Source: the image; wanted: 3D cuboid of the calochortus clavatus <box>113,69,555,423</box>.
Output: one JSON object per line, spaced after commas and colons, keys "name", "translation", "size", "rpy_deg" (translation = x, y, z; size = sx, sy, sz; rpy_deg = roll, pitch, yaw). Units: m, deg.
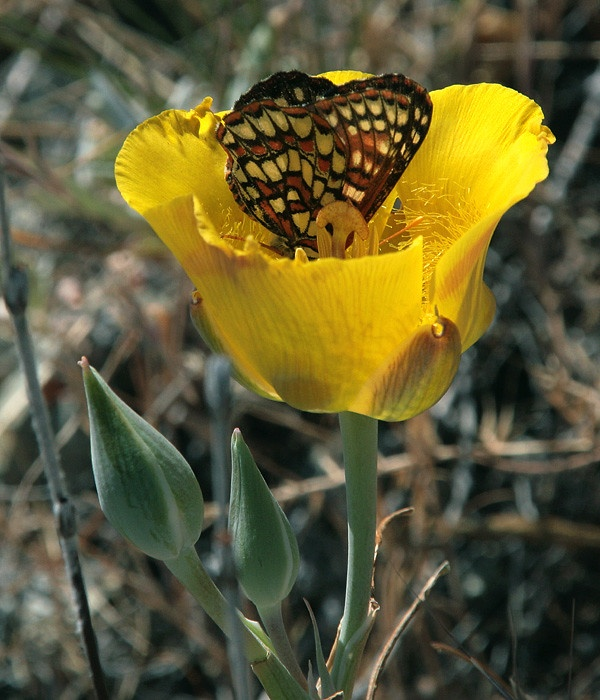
{"name": "calochortus clavatus", "translation": [0.022, -0.075, 0.716], "size": [0.281, 0.201, 0.290], "rpy_deg": [-25, 60, -21]}
